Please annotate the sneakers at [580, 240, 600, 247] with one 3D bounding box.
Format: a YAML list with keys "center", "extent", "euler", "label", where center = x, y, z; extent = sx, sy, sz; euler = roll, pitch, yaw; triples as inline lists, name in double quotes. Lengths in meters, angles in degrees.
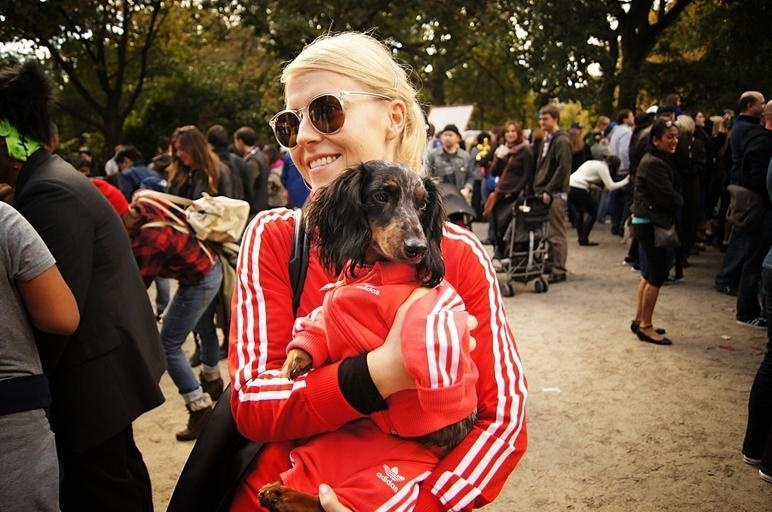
- center: [4.441, -0.261, 14.129]
  extent: [0.338, 0.136, 0.179]
  euler: [-2, 12, -4]
  label: "sneakers"

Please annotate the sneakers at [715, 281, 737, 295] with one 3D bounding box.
- center: [5.229, 0.525, 9.992]
  extent: [0.119, 0.152, 0.302]
  euler: [-3, 8, -28]
  label: "sneakers"

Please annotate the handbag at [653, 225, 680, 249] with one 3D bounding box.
- center: [3.525, -0.237, 8.177]
  extent: [0.280, 0.334, 0.138]
  euler: [2, -19, 8]
  label: "handbag"
